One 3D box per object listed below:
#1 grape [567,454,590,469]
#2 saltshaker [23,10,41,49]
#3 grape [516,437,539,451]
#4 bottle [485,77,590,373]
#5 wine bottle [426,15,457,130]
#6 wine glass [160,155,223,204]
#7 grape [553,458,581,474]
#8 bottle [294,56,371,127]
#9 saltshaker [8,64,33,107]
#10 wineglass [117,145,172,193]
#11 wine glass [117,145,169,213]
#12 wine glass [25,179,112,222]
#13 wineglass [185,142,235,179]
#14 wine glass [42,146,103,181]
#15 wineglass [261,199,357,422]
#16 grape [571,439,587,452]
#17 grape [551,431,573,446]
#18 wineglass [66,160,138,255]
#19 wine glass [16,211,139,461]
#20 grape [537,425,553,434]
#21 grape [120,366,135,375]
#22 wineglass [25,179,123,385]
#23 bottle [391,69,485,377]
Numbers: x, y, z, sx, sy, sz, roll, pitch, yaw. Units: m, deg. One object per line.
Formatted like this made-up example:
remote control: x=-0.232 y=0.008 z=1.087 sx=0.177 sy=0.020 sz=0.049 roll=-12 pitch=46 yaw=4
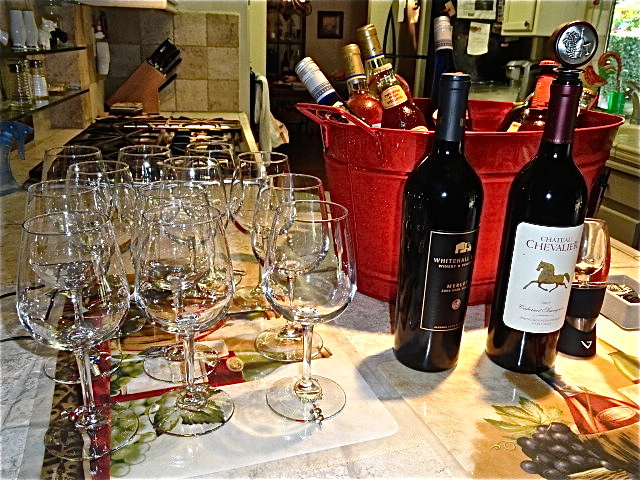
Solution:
grape: x=0.298 y=0.255 z=0.554 sx=0.010 sy=0.003 sz=0.013 roll=-4 pitch=12 yaw=-17
saltshaker: x=-1.028 y=-0.748 z=1.706 sx=0.047 sy=0.128 sz=0.045 roll=5 pitch=16 yaw=-12
grape: x=0.246 y=0.241 z=0.572 sx=0.022 sy=0.008 sz=0.010 roll=16 pitch=40 yaw=19
bottle: x=0.291 y=-0.005 z=0.633 sx=0.099 sy=0.398 sz=0.071 roll=12 pitch=24 yaw=26
wine bottle: x=0.221 y=-0.272 z=0.849 sx=0.061 sy=0.217 sz=0.051 roll=-8 pitch=22 yaw=3
wine glass: x=-0.205 y=-0.097 z=0.829 sx=0.113 sy=0.103 sz=0.108 roll=0 pitch=8 yaw=-7
grape: x=0.280 y=0.258 z=0.547 sx=0.025 sy=0.011 sz=0.009 roll=1 pitch=51 yaw=-9
bottle: x=0.020 y=-0.251 z=0.809 sx=0.120 sy=0.099 sz=0.232 roll=2 pitch=20 yaw=3
saltshaker: x=-1.040 y=-0.541 z=1.655 sx=0.059 sy=0.122 sz=0.096 roll=-10 pitch=23 yaw=-26
wineglass: x=-0.337 y=-0.140 z=0.953 sx=0.100 sy=0.094 sz=0.102 roll=10 pitch=18 yaw=31
wine glass: x=-0.337 y=-0.105 z=0.942 sx=0.101 sy=0.133 sz=0.092 roll=3 pitch=9 yaw=-4
wine glass: x=-0.362 y=-0.056 z=0.687 sx=0.065 sy=0.058 sz=0.062 roll=4 pitch=21 yaw=-3
wineglass: x=-0.232 y=-0.158 z=1.028 sx=0.114 sy=0.101 sz=0.106 roll=-3 pitch=14 yaw=-17
wine glass: x=-0.450 y=-0.137 z=0.870 sx=0.083 sy=0.075 sz=0.079 roll=4 pitch=19 yaw=9
wineglass: x=-0.002 y=0.091 z=0.655 sx=0.125 sy=0.256 sz=0.118 roll=8 pitch=4 yaw=-31
grape: x=0.307 y=0.244 z=0.571 sx=0.010 sy=0.009 sz=0.010 roll=1 pitch=7 yaw=7
grape: x=0.290 y=0.239 z=0.584 sx=0.010 sy=0.009 sz=0.027 roll=33 pitch=-6 yaw=-35
wineglass: x=-0.403 y=-0.048 z=0.831 sx=0.135 sy=0.160 sz=0.120 roll=-6 pitch=7 yaw=-16
wine glass: x=-0.297 y=0.113 z=0.598 sx=0.131 sy=0.265 sz=0.112 roll=-10 pitch=14 yaw=-36
grape: x=0.275 y=0.232 z=0.590 sx=0.014 sy=0.007 sz=0.007 roll=3 pitch=6 yaw=11
grape: x=-0.272 y=0.182 z=0.671 sx=0.010 sy=0.006 sz=0.009 roll=3 pitch=2 yaw=-2
wineglass: x=-0.349 y=0.052 z=0.678 sx=0.113 sy=0.242 sz=0.314 roll=-9 pitch=22 yaw=-23
bottle: x=0.148 y=-0.015 z=0.657 sx=0.129 sy=0.404 sz=0.102 roll=14 pitch=25 yaw=31
